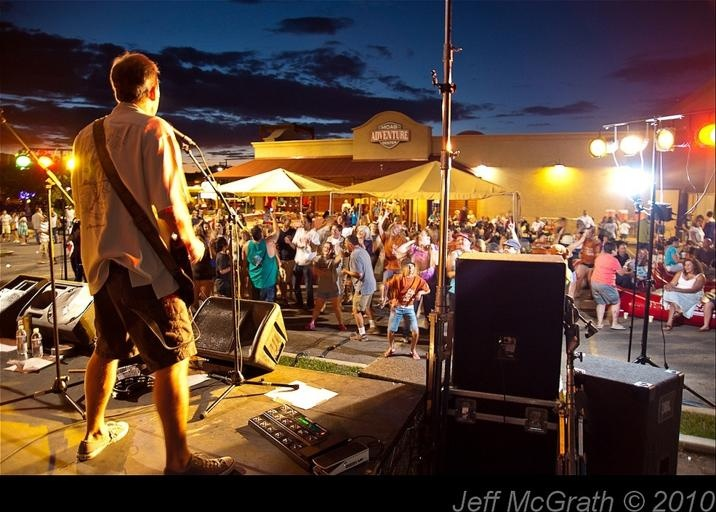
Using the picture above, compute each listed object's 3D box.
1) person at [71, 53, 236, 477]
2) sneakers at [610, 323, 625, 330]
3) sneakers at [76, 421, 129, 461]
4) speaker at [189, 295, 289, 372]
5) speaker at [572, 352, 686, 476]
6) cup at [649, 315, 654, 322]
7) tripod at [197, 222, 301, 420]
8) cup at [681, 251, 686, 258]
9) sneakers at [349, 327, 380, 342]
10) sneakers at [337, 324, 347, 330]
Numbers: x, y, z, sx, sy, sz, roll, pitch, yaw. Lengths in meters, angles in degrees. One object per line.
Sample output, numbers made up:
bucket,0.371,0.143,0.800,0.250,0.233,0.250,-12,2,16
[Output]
person,-1.683,0.294,3.818,1.153,2.924,0.422,2,7,14
sneakers,5.129,1.403,9.567,0.299,0.131,0.113,-3,4,-18
sneakers,-2.208,1.586,4.244,0.179,0.168,0.419,4,10,19
speaker,-1.353,0.944,6.179,1.108,0.903,0.878,6,-9,15
speaker,2.480,1.556,4.492,1.050,1.012,0.574,0,7,-1
cup,6.066,1.323,10.069,0.123,0.119,0.128,1,7,0
tripod,-1.555,0.851,6.801,1.806,2.508,1.359,4,11,21
cup,7.327,-0.008,10.949,0.113,0.101,0.132,4,12,22
sneakers,0.116,1.401,8.618,0.522,0.251,0.199,0,-3,-7
sneakers,-0.292,1.329,9.023,0.166,0.167,0.078,-3,7,-8
